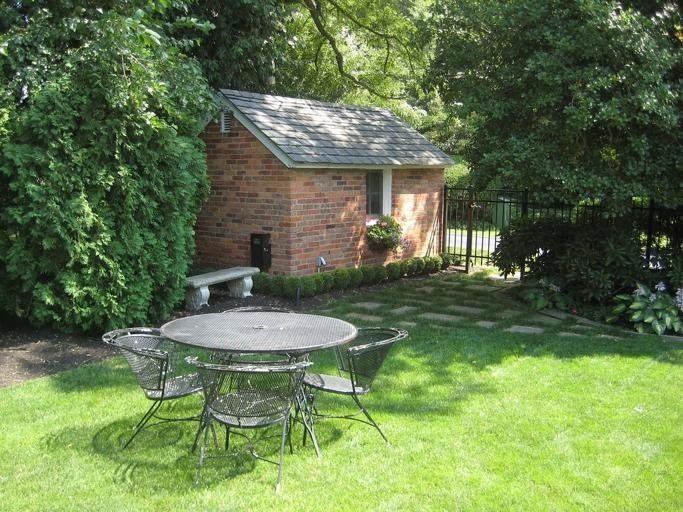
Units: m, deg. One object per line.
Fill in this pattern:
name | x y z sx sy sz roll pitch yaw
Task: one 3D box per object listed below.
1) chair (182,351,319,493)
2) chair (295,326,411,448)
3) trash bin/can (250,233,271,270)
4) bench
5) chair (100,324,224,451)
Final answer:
chair | -0.949 1.581 6.317 1.193 1.401 1.120 5 12 10
chair | 0.110 1.418 7.214 1.127 1.406 1.173 5 -1 -9
trash bin/can | -1.668 -0.061 12.578 0.375 0.713 0.223 6 8 40
bench | -2.304 0.600 11.740 0.467 0.637 1.754 8 15 32
chair | -1.978 1.452 6.793 1.086 1.262 1.109 1 6 17
